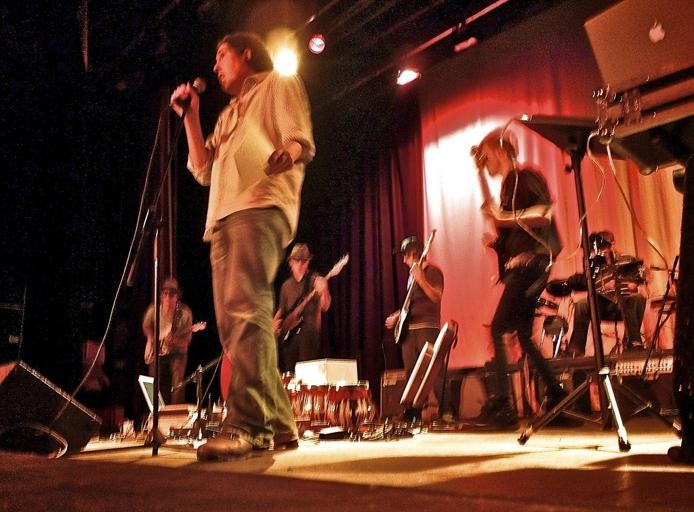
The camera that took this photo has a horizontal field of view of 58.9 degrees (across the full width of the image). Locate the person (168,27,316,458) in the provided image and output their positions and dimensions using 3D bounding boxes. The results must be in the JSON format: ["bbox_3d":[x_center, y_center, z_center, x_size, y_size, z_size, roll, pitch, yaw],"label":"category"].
[{"bbox_3d":[-0.463,-0.118,2.721,0.623,1.944,0.450,1,-16,-4],"label":"person"}]

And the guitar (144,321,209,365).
[{"bbox_3d":[-1.595,0.744,5.956,0.528,0.152,0.292,-29,-30,7],"label":"guitar"}]

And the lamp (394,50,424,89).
[{"bbox_3d":[0.692,-2.113,7.012,0.194,0.308,0.088,8,9,20],"label":"lamp"}]

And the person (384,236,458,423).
[{"bbox_3d":[0.641,0.662,5.220,0.542,1.868,0.769,14,-25,-18],"label":"person"}]

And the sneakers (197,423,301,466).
[{"bbox_3d":[-0.400,0.768,2.558,0.401,0.173,0.164,9,-40,-32],"label":"sneakers"}]

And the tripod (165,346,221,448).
[{"bbox_3d":[-1.146,1.028,4.554,0.275,0.683,0.596,15,-25,-31],"label":"tripod"}]

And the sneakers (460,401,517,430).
[{"bbox_3d":[0.848,0.904,3.639,0.261,0.134,0.201,-19,-18,39],"label":"sneakers"}]

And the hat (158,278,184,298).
[{"bbox_3d":[-1.654,0.305,5.813,0.195,0.308,0.283,-1,0,-4],"label":"hat"}]

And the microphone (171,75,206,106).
[{"bbox_3d":[-0.714,-0.758,2.868,0.177,0.073,0.095,-32,-54,-11],"label":"microphone"}]

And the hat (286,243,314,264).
[{"bbox_3d":[-0.434,-0.019,5.769,0.169,0.149,0.185,-1,3,-3],"label":"hat"}]

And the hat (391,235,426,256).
[{"bbox_3d":[0.524,-0.083,5.119,0.299,0.203,0.219,-1,-4,3],"label":"hat"}]
